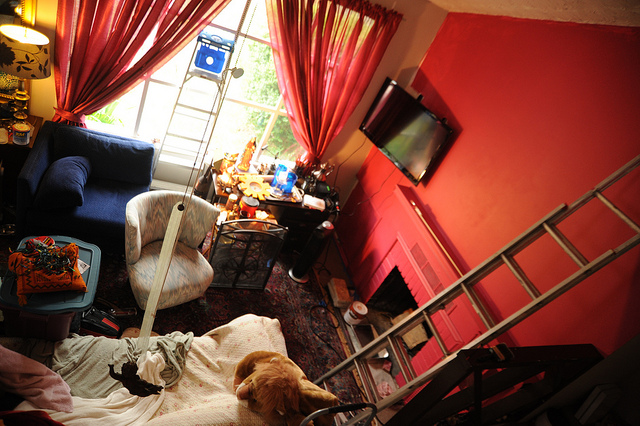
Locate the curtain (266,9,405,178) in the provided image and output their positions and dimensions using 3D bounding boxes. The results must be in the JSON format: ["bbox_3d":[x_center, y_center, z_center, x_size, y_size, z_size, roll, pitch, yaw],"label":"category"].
[{"bbox_3d":[0.193,-1.487,5.058,1.642,2.121,0.342,9,31,-20],"label":"curtain"}]

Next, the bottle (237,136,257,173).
[{"bbox_3d":[-0.902,-0.756,5.305,0.134,0.434,0.232,17,17,-12],"label":"bottle"}]

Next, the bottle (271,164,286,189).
[{"bbox_3d":[-0.502,-0.460,5.264,0.116,0.259,0.204,19,17,-7],"label":"bottle"}]

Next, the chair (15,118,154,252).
[{"bbox_3d":[-2.388,-0.220,4.356,1.084,1.160,0.864,13,18,-26],"label":"chair"}]

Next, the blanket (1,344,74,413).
[{"bbox_3d":[-2.037,1.197,3.036,0.525,0.171,0.394,21,3,-30],"label":"blanket"}]

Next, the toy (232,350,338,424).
[{"bbox_3d":[-0.265,1.368,3.294,0.694,0.321,0.539,24,52,-23],"label":"toy"}]

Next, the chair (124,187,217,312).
[{"bbox_3d":[-1.536,0.371,4.270,0.808,0.944,0.887,39,31,30],"label":"chair"}]

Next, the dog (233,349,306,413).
[{"bbox_3d":[-0.410,1.331,3.339,0.534,0.378,0.453,20,17,-5],"label":"dog"}]

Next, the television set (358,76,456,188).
[{"bbox_3d":[0.912,-0.975,4.861,1.013,0.714,0.105,31,3,-24],"label":"television set"}]
